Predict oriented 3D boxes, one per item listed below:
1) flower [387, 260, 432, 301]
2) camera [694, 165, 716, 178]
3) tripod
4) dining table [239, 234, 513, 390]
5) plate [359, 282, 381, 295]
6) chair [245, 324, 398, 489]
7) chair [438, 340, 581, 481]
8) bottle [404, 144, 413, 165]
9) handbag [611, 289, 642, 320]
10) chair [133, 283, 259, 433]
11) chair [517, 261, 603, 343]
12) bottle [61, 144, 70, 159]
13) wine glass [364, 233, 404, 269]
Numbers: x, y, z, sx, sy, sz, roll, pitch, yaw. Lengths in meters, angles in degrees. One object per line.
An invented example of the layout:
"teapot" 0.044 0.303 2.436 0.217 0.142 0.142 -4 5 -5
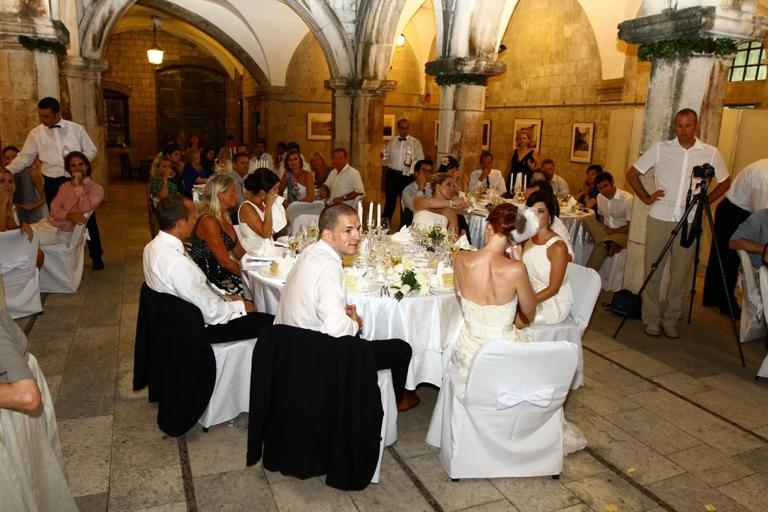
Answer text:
"flower" 0.200 0.209 4.140 0.310 0.200 0.321 -1 24 -6
"camera" 3.384 -0.894 5.211 0.199 0.149 0.150 -2 9 -16
"tripod" 3.429 0.029 5.714 1.246 1.684 1.429 3 8 -19
"dining table" 0.165 0.596 4.307 1.295 0.354 1.371 3 22 -21
"plate" -0.093 0.272 4.115 0.156 0.082 0.205 8 18 26
"chair" -0.452 1.078 3.423 0.867 0.916 0.502 9 31 8
"chair" 0.934 1.077 3.821 0.887 1.153 0.918 1 11 -17
"bottle" 0.519 -2.119 10.256 0.235 0.362 0.118 -2 -14 1
"handbag" 3.013 0.599 6.155 0.366 0.304 0.428 19 6 27
"chair" -1.641 0.776 4.176 0.735 1.173 0.819 -7 19 -41
"chair" 1.519 0.481 4.492 0.645 0.866 0.593 2 15 1
"bottle" -4.640 -1.539 7.183 0.141 0.216 0.069 4 -6 -18
"wine glass" -0.045 -0.063 4.807 0.311 0.159 0.376 0 19 -7
